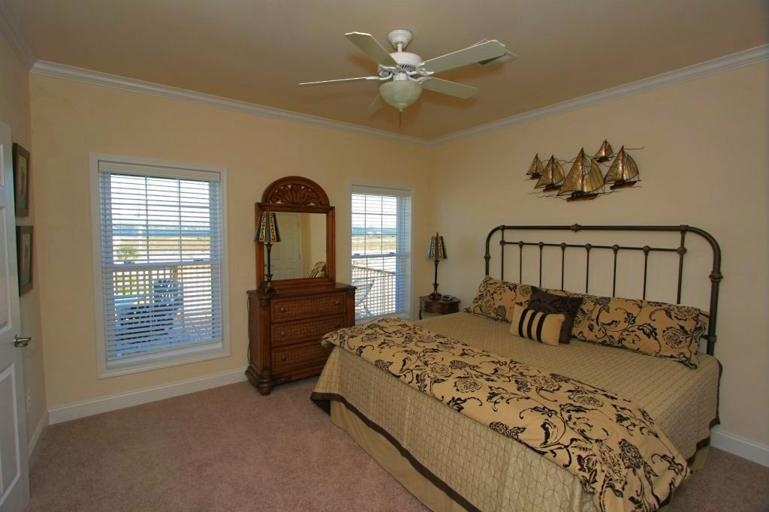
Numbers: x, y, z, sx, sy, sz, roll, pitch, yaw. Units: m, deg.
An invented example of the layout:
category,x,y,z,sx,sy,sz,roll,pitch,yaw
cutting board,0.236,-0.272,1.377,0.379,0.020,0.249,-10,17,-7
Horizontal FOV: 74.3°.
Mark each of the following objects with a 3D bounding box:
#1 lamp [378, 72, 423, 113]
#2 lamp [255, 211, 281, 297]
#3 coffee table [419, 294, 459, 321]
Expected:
category,x,y,z,sx,sy,sz,roll,pitch,yaw
lamp,0.119,-1.231,3.894,0.266,0.239,0.271,0,-3,15
lamp,-1.220,-0.051,5.321,0.263,0.865,0.363,2,2,-13
coffee table,0.690,0.604,6.363,0.339,0.413,0.418,-2,4,-35
